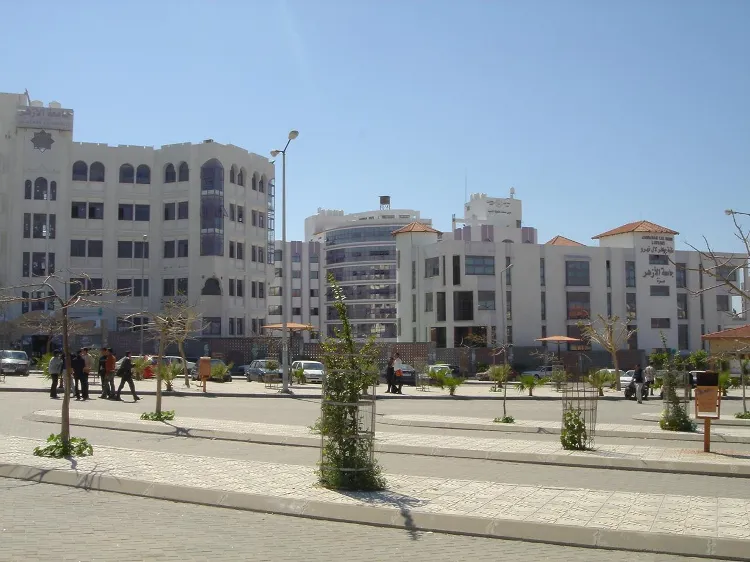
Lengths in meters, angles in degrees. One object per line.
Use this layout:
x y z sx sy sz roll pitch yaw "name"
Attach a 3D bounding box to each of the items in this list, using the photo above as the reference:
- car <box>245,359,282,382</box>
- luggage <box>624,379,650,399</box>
-6.254 4.987 45.165 1.414 0.961 2.467 3 -12 -24 "car"
12.259 5.092 38.106 0.811 0.506 1.463 -1 -9 2 "luggage"
